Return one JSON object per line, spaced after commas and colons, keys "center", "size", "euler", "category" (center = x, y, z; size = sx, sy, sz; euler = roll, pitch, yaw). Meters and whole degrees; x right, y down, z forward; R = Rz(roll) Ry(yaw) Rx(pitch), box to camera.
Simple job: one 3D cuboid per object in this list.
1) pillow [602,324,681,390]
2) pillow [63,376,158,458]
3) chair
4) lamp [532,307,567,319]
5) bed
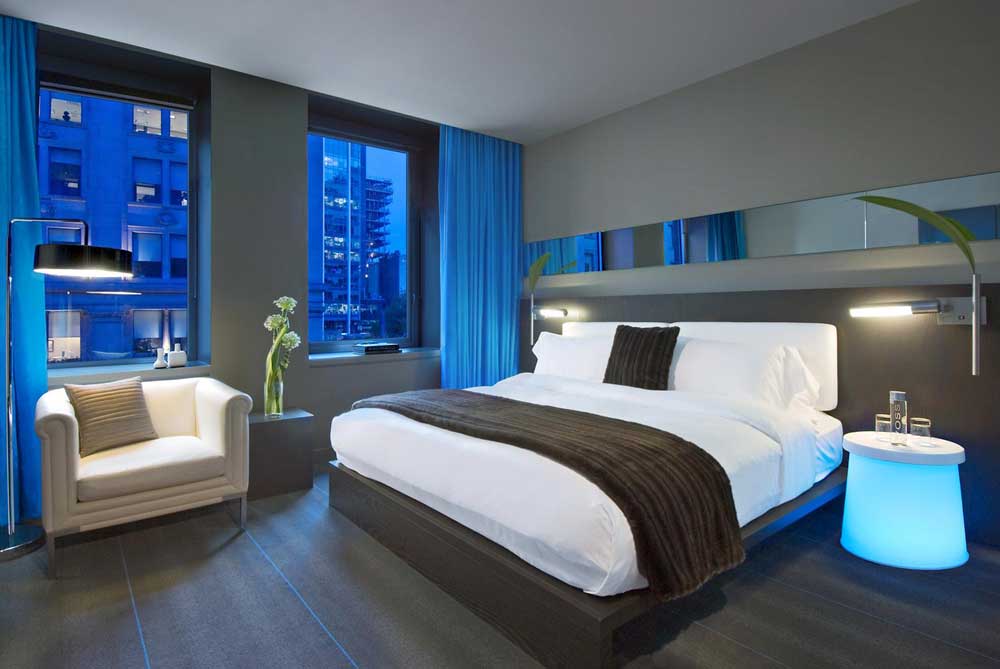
{"center": [1.150, 0.166, 5.002], "size": [0.169, 0.519, 0.549], "euler": [24, -12, -36], "category": "pillow"}
{"center": [-2.768, 0.602, 4.539], "size": [0.238, 0.559, 0.482], "euler": [-33, -15, 33], "category": "pillow"}
{"center": [-2.501, 0.901, 4.508], "size": [1.282, 1.035, 0.887], "euler": [-3, 6, -35], "category": "chair"}
{"center": [0.525, -0.227, 6.532], "size": [0.105, 0.123, 0.404], "euler": [-7, 13, -41], "category": "lamp"}
{"center": [0.907, 0.914, 4.190], "size": [2.369, 1.194, 2.536], "euler": [3, -4, -40], "category": "bed"}
